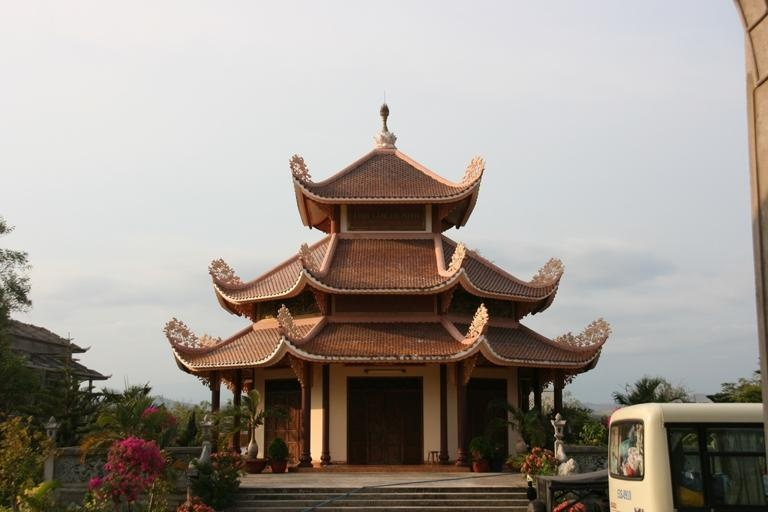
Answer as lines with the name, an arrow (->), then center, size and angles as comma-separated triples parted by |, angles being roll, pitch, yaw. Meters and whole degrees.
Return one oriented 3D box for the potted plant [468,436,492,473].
potted plant -> 3.496, 7.117, 40.538 | 1.103, 1.330, 0.955 | 0, -11, -6
